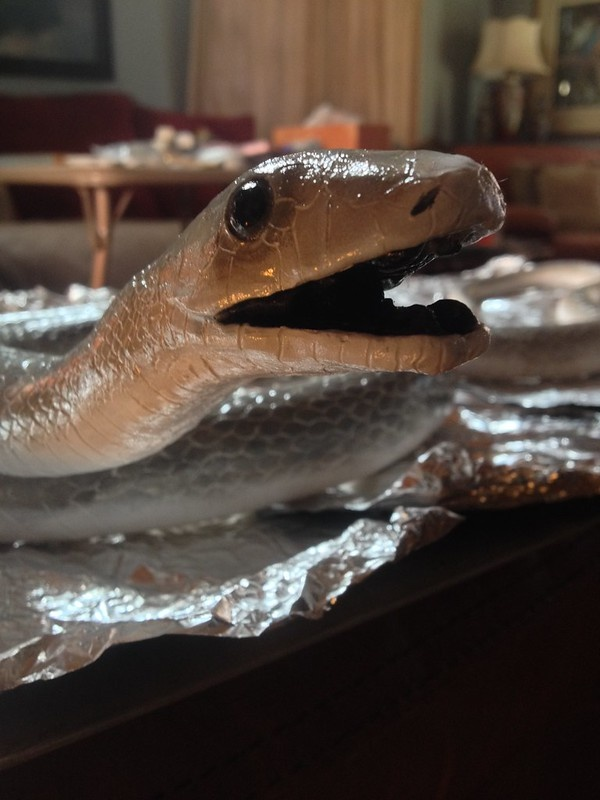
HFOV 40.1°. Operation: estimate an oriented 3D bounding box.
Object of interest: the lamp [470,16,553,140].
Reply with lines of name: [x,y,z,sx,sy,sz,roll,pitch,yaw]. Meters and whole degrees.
lamp: [0.863,-1.250,3.268,0.350,0.443,0.310,-9,15,-23]
